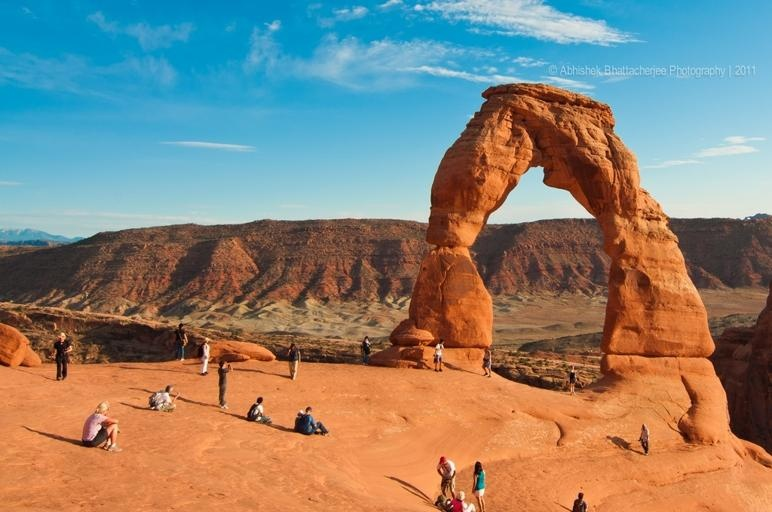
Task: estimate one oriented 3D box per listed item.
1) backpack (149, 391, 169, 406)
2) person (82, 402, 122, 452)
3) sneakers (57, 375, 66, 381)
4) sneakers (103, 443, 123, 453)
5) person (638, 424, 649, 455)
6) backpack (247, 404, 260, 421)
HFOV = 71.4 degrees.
[{"bbox_3d":[-6.394,4.059,15.058,0.510,0.439,0.305,2,-6,-18],"label":"backpack"},{"bbox_3d":[-6.632,4.079,12.891,1.006,0.848,1.049,-7,-9,41],"label":"person"},{"bbox_3d":[-10.270,3.871,16.912,0.211,0.135,0.221,2,-5,-25],"label":"sneakers"},{"bbox_3d":[-6.430,4.517,12.588,0.464,0.131,0.150,3,-4,-14],"label":"sneakers"},{"bbox_3d":[8.613,6.075,17.971,0.353,0.936,1.006,-2,-6,24],"label":"person"},{"bbox_3d":[-3.787,4.445,15.199,0.328,0.428,0.223,1,-6,-10],"label":"backpack"}]
